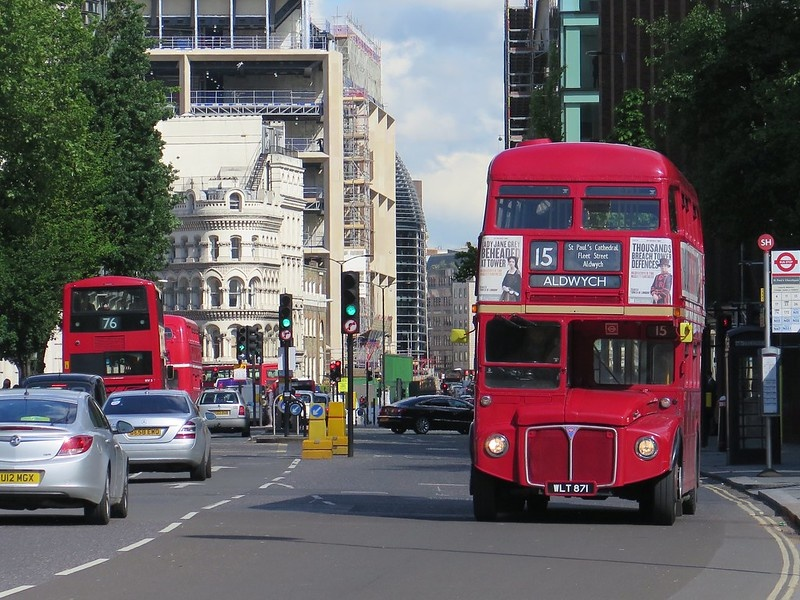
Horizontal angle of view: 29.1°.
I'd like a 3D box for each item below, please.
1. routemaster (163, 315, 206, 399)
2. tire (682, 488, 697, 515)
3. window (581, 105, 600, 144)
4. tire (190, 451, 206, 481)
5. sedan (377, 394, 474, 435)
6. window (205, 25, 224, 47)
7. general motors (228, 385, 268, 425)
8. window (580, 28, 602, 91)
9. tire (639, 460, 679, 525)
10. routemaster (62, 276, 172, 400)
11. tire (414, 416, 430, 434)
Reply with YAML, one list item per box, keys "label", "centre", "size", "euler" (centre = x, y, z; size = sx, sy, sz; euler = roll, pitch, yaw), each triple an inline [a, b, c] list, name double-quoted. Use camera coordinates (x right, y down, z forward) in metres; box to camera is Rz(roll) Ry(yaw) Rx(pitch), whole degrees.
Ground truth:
- label: "routemaster"
  centre: [-9.208, 2.715, 63.203]
  size: [1.740, 3.916, 6.938]
  euler: [-3, -2, -3]
- label: "tire"
  centre: [4.566, 3.187, 24.286]
  size: [0.174, 0.593, 0.567]
  euler: [-2, -3, 12]
- label: "window"
  centre: [10.714, -9.977, 87.136]
  size: [0.987, 1.223, 2.024]
  euler: [-1, -1, 7]
- label: "tire"
  centre: [-4.108, 3.350, 31.138]
  size: [0.219, 0.656, 0.629]
  euler: [-2, -6, 5]
- label: "sedan"
  centre: [1.142, 4.885, 65.134]
  size: [3.964, 1.299, 1.857]
  euler: [-3, -1, -9]
- label: "window"
  centre: [-16.767, -23.560, 137.649]
  size: [1.719, 2.445, 1.254]
  euler: [1, -5, -20]
- label: "general motors"
  centre: [-7.152, 5.118, 73.155]
  size: [1.932, 1.989, 3.757]
  euler: [-1, 1, 4]
- label: "window"
  centre: [10.689, -13.558, 86.937]
  size: [0.972, 3.695, 1.451]
  euler: [-1, -1, 9]
- label: "tire"
  centre: [3.770, 2.773, 22.342]
  size: [0.360, 1.018, 0.971]
  euler: [2, 1, 10]
- label: "routemaster"
  centre: [-8.765, 1.205, 46.468]
  size: [2.884, 3.801, 3.993]
  euler: [-1, -5, 2]
- label: "tire"
  centre: [0.909, 5.333, 64.840]
  size: [0.668, 0.711, 0.653]
  euler: [-1, -1, 1]
